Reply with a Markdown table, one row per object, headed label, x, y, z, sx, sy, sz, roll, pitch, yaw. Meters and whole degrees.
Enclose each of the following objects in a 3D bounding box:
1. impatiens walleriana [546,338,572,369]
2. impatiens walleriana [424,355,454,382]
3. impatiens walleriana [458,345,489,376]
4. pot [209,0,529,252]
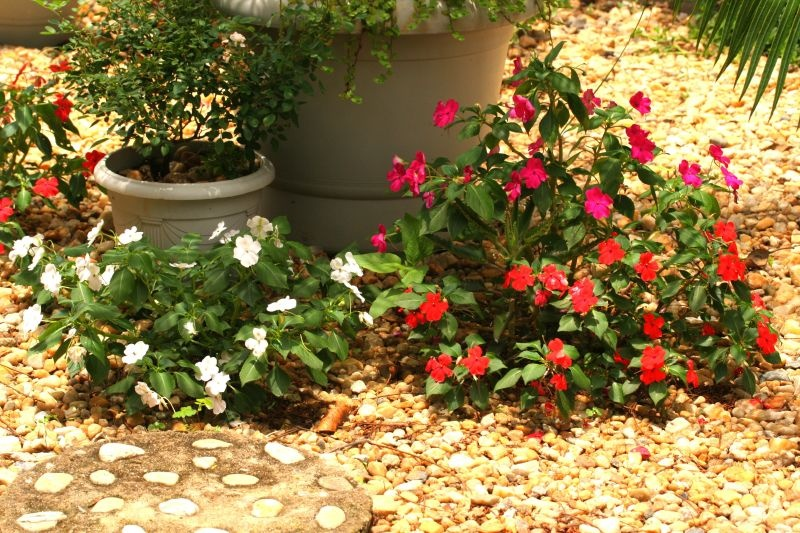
| label | x | y | z | sx | sy | sz | roll | pitch | yaw |
| --- | --- | --- | --- | --- | --- | --- | --- | --- | --- |
| impatiens walleriana | 0.601 | 0.321 | 2.616 | 0.097 | 0.115 | 0.099 | 11 | 35 | 13 |
| impatiens walleriana | 0.156 | 0.381 | 2.723 | 0.103 | 0.124 | 0.146 | 4 | 34 | 3 |
| impatiens walleriana | 0.289 | 0.362 | 2.683 | 0.106 | 0.112 | 0.113 | 13 | 35 | 15 |
| pot | -0.201 | -0.776 | 3.755 | 1.298 | 0.993 | 1.344 | 3 | 26 | -1 |
